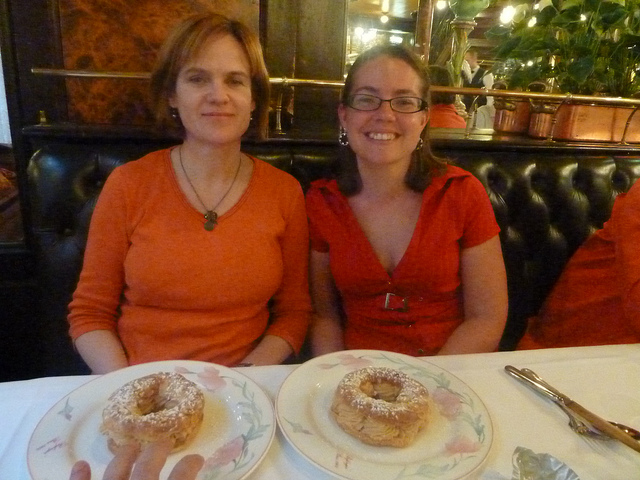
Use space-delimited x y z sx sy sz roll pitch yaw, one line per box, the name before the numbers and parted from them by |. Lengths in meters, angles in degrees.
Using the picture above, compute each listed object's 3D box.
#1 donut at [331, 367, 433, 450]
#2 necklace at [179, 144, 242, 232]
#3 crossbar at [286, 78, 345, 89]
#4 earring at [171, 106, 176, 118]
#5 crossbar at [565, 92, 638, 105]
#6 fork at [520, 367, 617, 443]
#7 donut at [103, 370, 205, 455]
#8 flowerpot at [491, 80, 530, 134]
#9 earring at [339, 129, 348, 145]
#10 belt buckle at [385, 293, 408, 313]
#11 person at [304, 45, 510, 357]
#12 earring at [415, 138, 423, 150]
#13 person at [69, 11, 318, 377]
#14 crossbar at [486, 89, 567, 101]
donut | 0.152 0.378 1.128 0.221 0.076 0.239 -11 20 -33
necklace | -0.367 -0.181 1.637 0.208 0.257 0.243 -4 18 -10
crossbar | -0.022 -0.678 2.093 0.245 0.032 0.095 -1 16 -4
earring | -0.517 -0.452 1.703 0.015 0.037 0.035 -8 19 -23
crossbar | 1.418 -0.700 2.402 0.425 0.045 0.121 -1 16 -4
fork | 0.573 0.404 1.154 0.060 0.042 0.246 -19 43 -28
donut | -0.370 0.383 1.067 0.212 0.076 0.201 22 29 37
flowerpot | 1.117 -0.785 2.785 0.294 0.290 0.213 -9 22 -14
earring | 0.102 -0.432 1.994 0.052 0.045 0.049 -4 9 -10
belt buckle | 0.274 0.223 1.712 0.079 0.066 0.031 2 18 8
person | 0.304 -0.148 1.737 0.724 1.066 0.599 0 18 1
earring | 0.384 -0.364 1.828 0.032 0.023 0.030 -32 45 -9
person | -0.375 -0.143 1.568 0.576 1.159 0.793 11 21 31
crossbar | 1.012 -0.700 2.322 0.427 0.046 0.182 -10 19 -31
